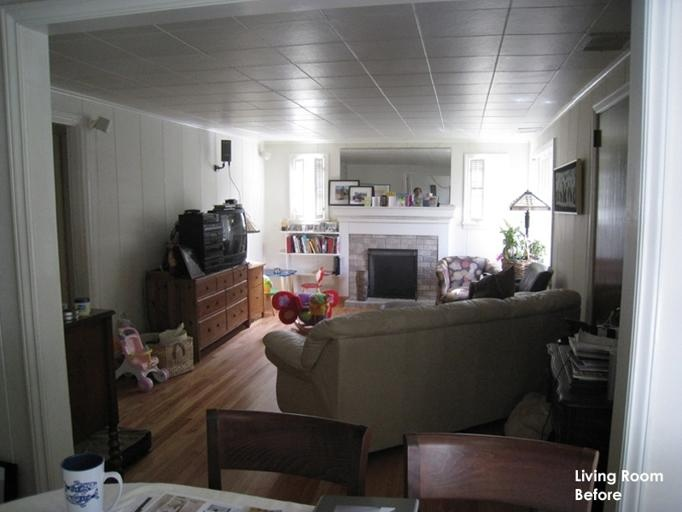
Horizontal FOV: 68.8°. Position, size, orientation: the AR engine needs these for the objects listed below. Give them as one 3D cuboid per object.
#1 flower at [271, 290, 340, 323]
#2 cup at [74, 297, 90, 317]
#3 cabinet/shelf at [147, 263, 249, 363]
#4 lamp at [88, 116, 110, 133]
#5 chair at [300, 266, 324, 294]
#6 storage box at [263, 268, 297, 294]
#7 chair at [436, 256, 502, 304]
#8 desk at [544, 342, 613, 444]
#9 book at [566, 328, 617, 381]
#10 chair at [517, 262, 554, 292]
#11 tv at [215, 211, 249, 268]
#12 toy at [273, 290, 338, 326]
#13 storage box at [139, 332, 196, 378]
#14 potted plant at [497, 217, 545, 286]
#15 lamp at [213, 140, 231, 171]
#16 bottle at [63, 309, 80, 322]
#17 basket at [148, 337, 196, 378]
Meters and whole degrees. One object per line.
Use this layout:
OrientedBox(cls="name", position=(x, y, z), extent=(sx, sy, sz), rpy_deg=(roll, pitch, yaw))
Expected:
OrientedBox(cls="flower", position=(-0.396, 0.580, 5.710), extent=(0.763, 0.437, 0.247), rpy_deg=(-1, 18, -3))
OrientedBox(cls="cup", position=(-1.598, 0.313, 3.117), extent=(0.101, 0.112, 0.104), rpy_deg=(1, 8, 0))
OrientedBox(cls="cabinet/shelf", position=(-1.584, 0.564, 5.870), extent=(0.638, 0.874, 1.191), rpy_deg=(9, 11, 15))
OrientedBox(cls="lamp", position=(-2.253, -1.271, 4.764), extent=(0.140, 0.149, 0.294), rpy_deg=(0, 9, 10))
OrientedBox(cls="chair", position=(-0.411, 0.377, 7.684), extent=(0.388, 0.547, 0.394), rpy_deg=(0, 4, -12))
OrientedBox(cls="storage box", position=(-0.950, 0.369, 7.893), extent=(0.409, 0.411, 0.420), rpy_deg=(-1, 2, -2))
OrientedBox(cls="chair", position=(1.672, 0.443, 7.015), extent=(0.683, 0.743, 0.648), rpy_deg=(2, 6, -6))
OrientedBox(cls="desk", position=(1.309, 0.815, 2.762), extent=(0.266, 0.602, 0.470), rpy_deg=(1, 9, 18))
OrientedBox(cls="book", position=(1.316, 0.510, 2.626), extent=(0.212, 0.100, 0.228), rpy_deg=(1, 2, 25))
OrientedBox(cls="chair", position=(2.106, 0.232, 5.378), extent=(0.375, 0.401, 0.386), rpy_deg=(-2, 8, 1))
OrientedBox(cls="tv", position=(-1.310, -0.213, 5.939), extent=(0.373, 0.639, 0.684), rpy_deg=(0, 2, 5))
OrientedBox(cls="toy", position=(-0.423, 0.595, 5.684), extent=(0.496, 0.284, 0.168), rpy_deg=(-2, -4, 0))
OrientedBox(cls="storage box", position=(-1.658, 0.981, 4.957), extent=(0.244, 0.329, 0.333), rpy_deg=(12, 14, 37))
OrientedBox(cls="potted plant", position=(2.365, -0.088, 6.529), extent=(0.567, 0.879, 0.624), rpy_deg=(-8, -1, -4))
OrientedBox(cls="lamp", position=(-1.585, -1.362, 6.688), extent=(0.261, 0.414, 0.643), rpy_deg=(-3, 9, -13))
OrientedBox(cls="bottle", position=(-1.575, 0.340, 2.930), extent=(0.054, 0.074, 0.117), rpy_deg=(-2, 9, -3))
OrientedBox(cls="basket", position=(-1.599, 0.982, 4.876), extent=(0.360, 0.372, 0.376), rpy_deg=(-1, 3, 14))
